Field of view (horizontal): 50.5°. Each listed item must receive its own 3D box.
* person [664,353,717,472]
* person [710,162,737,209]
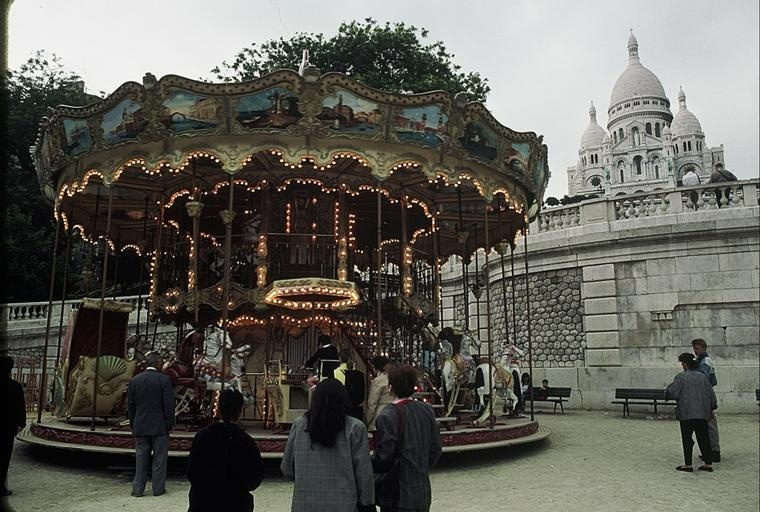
[{"bbox_3d":[7.073,3.505,18.167,0.992,2.637,0.768,5,-12,-29],"label":"person"},{"bbox_3d":[11.850,-2.350,27.724,0.841,1.744,0.645,-2,-16,17],"label":"person"}]
